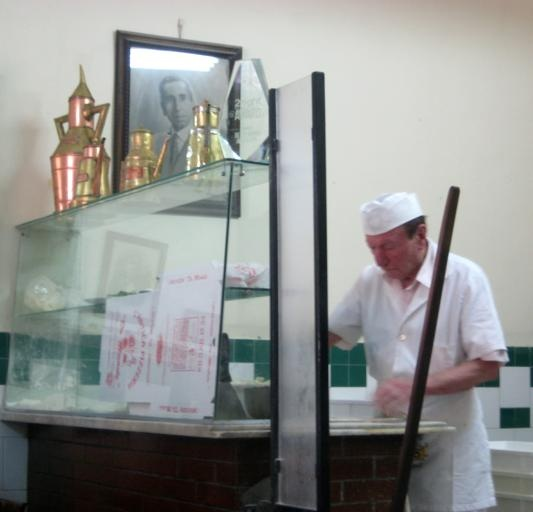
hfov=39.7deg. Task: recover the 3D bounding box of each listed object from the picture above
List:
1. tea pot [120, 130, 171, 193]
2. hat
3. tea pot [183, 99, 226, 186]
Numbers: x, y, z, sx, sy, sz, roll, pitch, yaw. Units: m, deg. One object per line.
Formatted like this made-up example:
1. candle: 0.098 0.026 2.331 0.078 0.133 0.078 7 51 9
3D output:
1. tea pot: -0.332 -0.261 2.061 0.121 0.197 0.090 6 6 19
2. hat: 0.174 -0.070 1.025 0.075 0.041 0.077 0 5 4
3. tea pot: -0.137 -0.262 1.646 0.115 0.179 0.115 3 5 0
